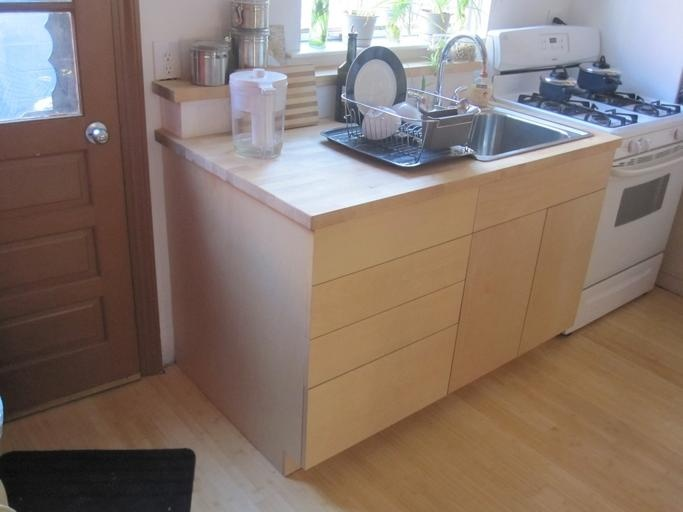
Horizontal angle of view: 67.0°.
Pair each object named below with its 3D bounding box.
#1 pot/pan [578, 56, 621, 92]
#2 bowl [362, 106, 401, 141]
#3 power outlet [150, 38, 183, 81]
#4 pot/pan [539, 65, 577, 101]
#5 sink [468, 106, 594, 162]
[{"bbox_3d":[1.350,-0.939,2.697,0.170,0.145,0.222,17,39,18],"label":"pot/pan"},{"bbox_3d":[0.141,-0.483,1.882,0.160,0.116,0.108,14,30,24],"label":"bowl"},{"bbox_3d":[-0.639,-0.715,1.865,0.123,0.166,0.018,-19,38,-36],"label":"power outlet"},{"bbox_3d":[1.135,-0.894,2.652,0.202,0.146,0.156,-20,33,-38],"label":"pot/pan"},{"bbox_3d":[0.799,-0.511,2.192,0.165,0.229,0.236,-26,43,-31],"label":"sink"}]
